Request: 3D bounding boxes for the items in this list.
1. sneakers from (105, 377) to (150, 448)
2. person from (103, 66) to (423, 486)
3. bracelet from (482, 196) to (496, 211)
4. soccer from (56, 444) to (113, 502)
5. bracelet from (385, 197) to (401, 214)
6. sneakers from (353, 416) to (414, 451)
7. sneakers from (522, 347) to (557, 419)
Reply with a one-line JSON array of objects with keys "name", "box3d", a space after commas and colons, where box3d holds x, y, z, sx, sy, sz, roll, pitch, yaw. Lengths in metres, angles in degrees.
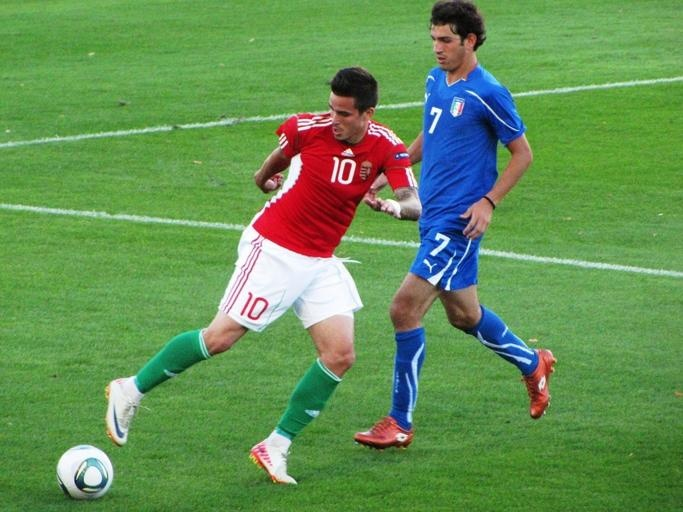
[{"name": "sneakers", "box3d": [-1.437, 1.020, 7.120, 0.277, 0.491, 0.179, -10, -16, 18]}, {"name": "person", "box3d": [-0.386, 0.036, 7.062, 1.102, 2.525, 1.411, 17, 20, 39]}, {"name": "bracelet", "box3d": [1.017, -0.375, 7.414, 0.089, 0.084, 0.111, 5, 14, 5]}, {"name": "soccer", "box3d": [-1.646, 1.399, 6.879, 0.412, 0.362, 0.385, -1, -10, -9]}, {"name": "bracelet", "box3d": [0.315, -0.328, 6.966, 0.095, 0.087, 0.087, -13, 26, -36]}, {"name": "sneakers", "box3d": [0.299, 1.206, 7.373, 0.468, 0.198, 0.197, 2, 8, -34]}, {"name": "sneakers", "box3d": [1.449, 0.912, 7.685, 0.268, 0.495, 0.176, 20, -19, -31]}]
